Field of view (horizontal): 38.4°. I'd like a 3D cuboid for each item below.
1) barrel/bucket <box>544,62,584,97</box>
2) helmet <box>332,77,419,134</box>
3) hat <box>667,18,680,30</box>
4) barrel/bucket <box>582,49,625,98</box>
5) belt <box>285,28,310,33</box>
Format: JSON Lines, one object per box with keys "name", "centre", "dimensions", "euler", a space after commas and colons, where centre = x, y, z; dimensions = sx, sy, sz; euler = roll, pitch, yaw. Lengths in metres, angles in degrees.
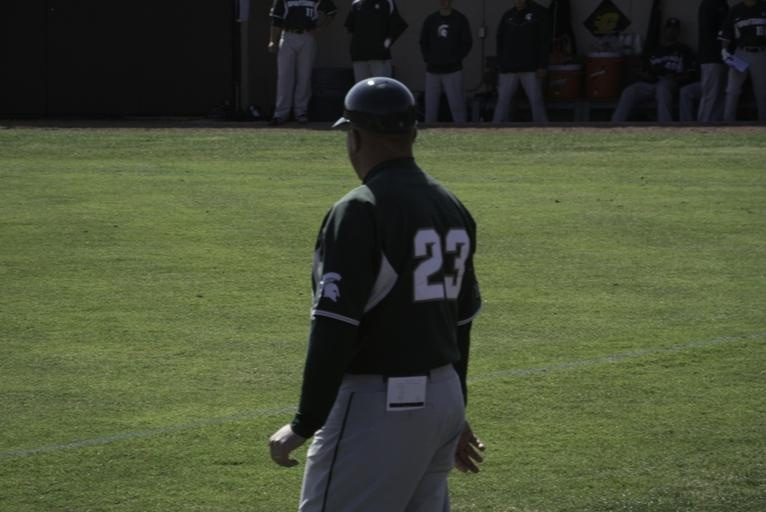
{"name": "barrel/bucket", "centre": [3.144, -3.125, 19.398], "dimensions": [0.732, 0.578, 0.669], "euler": [1, 5, 0]}
{"name": "helmet", "centre": [-0.068, -1.037, 7.449], "dimensions": [0.388, 0.237, 0.507], "euler": [-7, 13, -37]}
{"name": "hat", "centre": [5.082, -4.095, 19.210], "dimensions": [0.238, 0.157, 0.315], "euler": [4, 12, 11]}
{"name": "barrel/bucket", "centre": [3.862, -3.183, 19.200], "dimensions": [0.862, 0.748, 0.790], "euler": [2, 6, 0]}
{"name": "belt", "centre": [-1.253, -3.343, 16.212], "dimensions": [0.288, 0.066, 0.063], "euler": [-1, 8, -14]}
